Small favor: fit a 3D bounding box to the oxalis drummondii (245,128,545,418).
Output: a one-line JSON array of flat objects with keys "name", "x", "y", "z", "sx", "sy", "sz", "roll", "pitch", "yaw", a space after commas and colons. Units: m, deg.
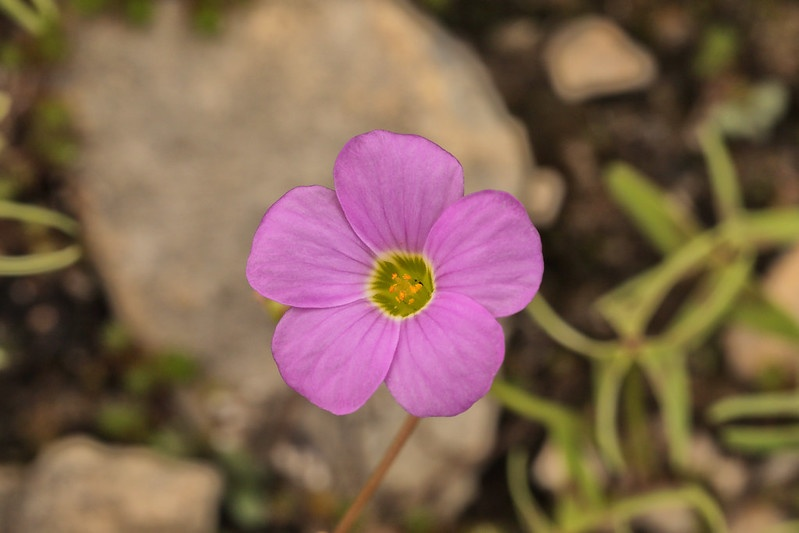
[{"name": "oxalis drummondii", "x": -0.021, "y": 0.038, "z": 1.355, "sx": 0.446, "sy": 0.346, "sz": 0.451, "roll": 29, "pitch": 84, "yaw": 4}]
